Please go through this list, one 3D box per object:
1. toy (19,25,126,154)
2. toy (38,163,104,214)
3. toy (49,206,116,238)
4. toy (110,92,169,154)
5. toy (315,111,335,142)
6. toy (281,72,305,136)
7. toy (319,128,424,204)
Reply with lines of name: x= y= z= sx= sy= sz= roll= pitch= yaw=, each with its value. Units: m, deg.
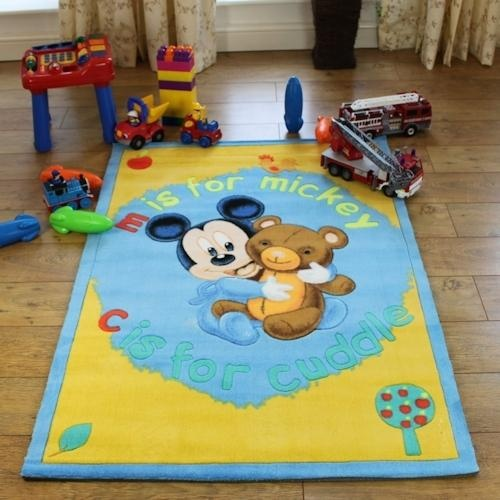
toy: x=-0.779 y=-0.708 z=2.314 sx=0.501 sy=0.369 sz=0.429 roll=16 pitch=44 yaw=13
toy: x=-0.662 y=-0.232 z=1.997 sx=0.266 sy=0.133 sz=0.145 roll=-5 pitch=59 yaw=-22
toy: x=-0.586 y=-0.107 z=1.832 sx=0.190 sy=0.053 sz=0.086 roll=3 pitch=59 yaw=-1
toy: x=-0.489 y=-0.559 z=2.286 sx=0.144 sy=0.172 sz=0.233 roll=33 pitch=43 yaw=28
toy: x=0.301 y=-0.531 z=2.278 sx=0.112 sy=0.122 sz=0.111 roll=1 pitch=77 yaw=3
toy: x=0.188 y=-0.635 z=2.312 sx=0.081 sy=0.251 sz=0.091 roll=3 pitch=34 yaw=4
toy: x=0.443 y=-0.322 z=2.004 sx=0.444 sy=0.202 sz=0.211 roll=26 pitch=59 yaw=25
